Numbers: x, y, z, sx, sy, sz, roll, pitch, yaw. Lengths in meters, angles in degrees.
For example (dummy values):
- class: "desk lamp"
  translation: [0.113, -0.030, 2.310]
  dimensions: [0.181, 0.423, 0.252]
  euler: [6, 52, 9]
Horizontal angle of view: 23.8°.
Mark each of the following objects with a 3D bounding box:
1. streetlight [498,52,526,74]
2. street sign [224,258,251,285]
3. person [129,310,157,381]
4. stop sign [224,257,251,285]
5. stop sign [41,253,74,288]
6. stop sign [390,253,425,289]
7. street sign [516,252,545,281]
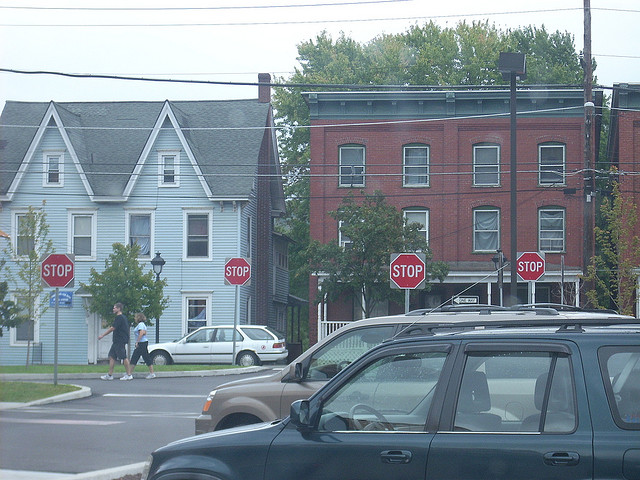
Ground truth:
- class: "streetlight"
  translation: [6.912, -6.209, 54.265]
  dimensions: [1.336, 0.900, 0.690]
  euler: [1, 3, 5]
- class: "street sign"
  translation: [-3.165, 1.229, 58.165]
  dimensions: [1.181, 1.053, 0.216]
  euler: [1, -11, -12]
- class: "person"
  translation: [-6.972, 4.150, 59.540]
  dimensions: [0.823, 2.361, 0.989]
  euler: [7, 0, -30]
- class: "stop sign"
  translation: [-3.181, 1.226, 58.402]
  dimensions: [1.240, 1.235, 0.204]
  euler: [2, -13, -12]
- class: "stop sign"
  translation: [-9.328, 1.092, 53.838]
  dimensions: [1.529, 1.455, 0.247]
  euler: [-1, 3, -5]
- class: "stop sign"
  translation: [2.885, 1.018, 49.362]
  dimensions: [1.237, 1.106, 0.227]
  euler: [1, -1, 0]
- class: "street sign"
  translation: [7.426, 0.959, 53.278]
  dimensions: [0.905, 0.927, 0.495]
  euler: [-2, -6, 5]
